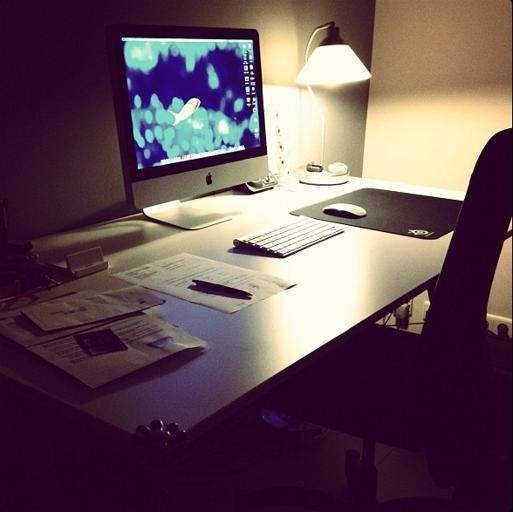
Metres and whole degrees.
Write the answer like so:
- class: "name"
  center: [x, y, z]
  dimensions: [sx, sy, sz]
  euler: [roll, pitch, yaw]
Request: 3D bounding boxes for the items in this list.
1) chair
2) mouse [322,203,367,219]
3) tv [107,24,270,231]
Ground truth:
- class: "chair"
  center: [0.406, 0.017, 1.347]
  dimensions: [0.593, 1.195, 0.677]
  euler: [12, 24, 33]
- class: "mouse"
  center: [0.278, -0.149, 1.407]
  dimensions: [0.094, 0.028, 0.061]
  euler: [10, 27, 26]
- class: "tv"
  center: [-0.206, -0.368, 1.296]
  dimensions: [0.162, 0.548, 0.484]
  euler: [14, 23, 33]
